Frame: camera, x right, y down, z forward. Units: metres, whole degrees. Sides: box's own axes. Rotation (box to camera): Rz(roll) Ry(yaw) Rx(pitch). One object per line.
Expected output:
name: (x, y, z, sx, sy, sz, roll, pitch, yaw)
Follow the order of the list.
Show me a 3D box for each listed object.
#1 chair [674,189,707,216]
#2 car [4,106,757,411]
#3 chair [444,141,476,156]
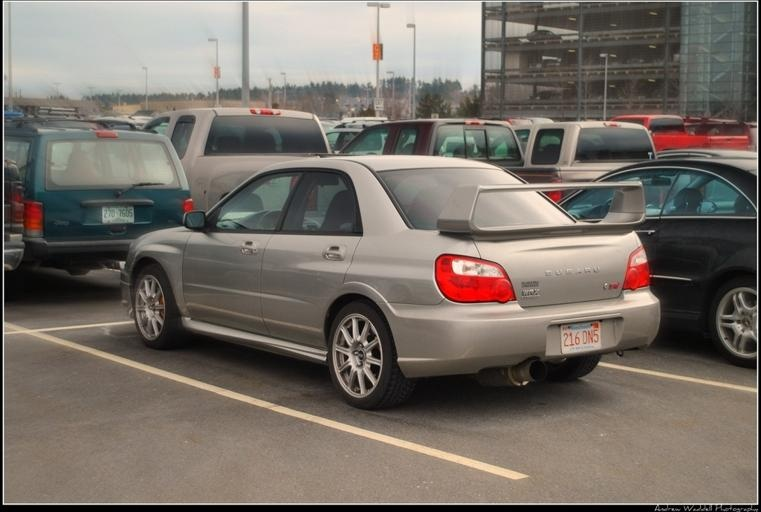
chair: (3.539, -0.624, 6.273, 0.276, 0.325, 0.310, 2, 7, 8)
car: (-0.188, 0.118, 5.282, 4.825, 2.190, 1.464, 4, 7, 31)
chair: (1.759, -2.359, 11.964, 0.496, 0.205, 0.357, -2, 7, -8)
